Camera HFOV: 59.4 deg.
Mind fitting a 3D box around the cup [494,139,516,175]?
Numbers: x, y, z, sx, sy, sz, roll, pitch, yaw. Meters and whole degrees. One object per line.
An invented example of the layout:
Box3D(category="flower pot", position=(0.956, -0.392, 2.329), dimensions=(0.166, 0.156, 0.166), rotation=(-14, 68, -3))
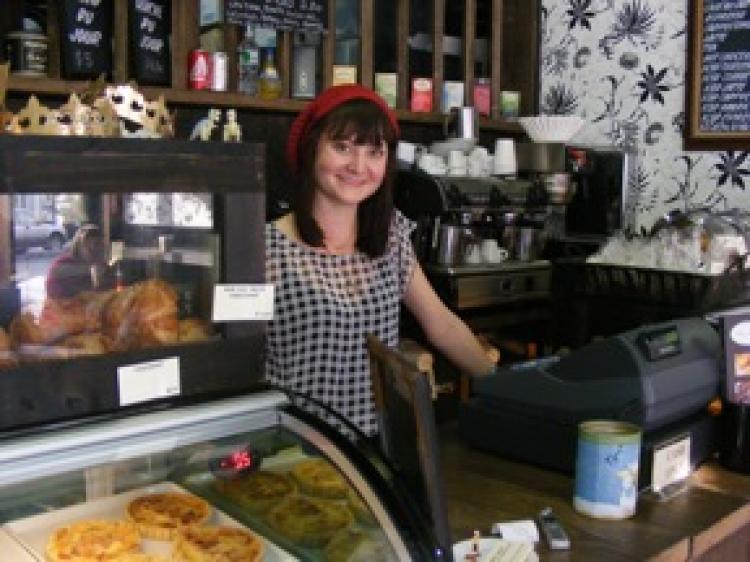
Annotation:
Box3D(category="cup", position=(0.568, -0.539, 2.848), dimensions=(0.129, 0.150, 0.132), rotation=(-3, 18, 1))

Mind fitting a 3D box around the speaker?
Box3D(category="speaker", position=(0.939, -0.377, 2.832), dimensions=(0.232, 0.361, 0.066), rotation=(5, 10, 16))

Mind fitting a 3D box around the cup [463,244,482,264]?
Box3D(category="cup", position=(0.390, -0.107, 2.707), dimensions=(0.075, 0.089, 0.077), rotation=(-1, -1, 0))

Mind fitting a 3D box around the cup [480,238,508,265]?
Box3D(category="cup", position=(0.480, -0.112, 2.722), dimensions=(0.113, 0.102, 0.082), rotation=(-2, 7, -10))

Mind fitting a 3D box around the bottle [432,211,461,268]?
Box3D(category="bottle", position=(0.285, -0.141, 2.617), dimensions=(0.110, 0.194, 0.110), rotation=(4, -7, 1))
